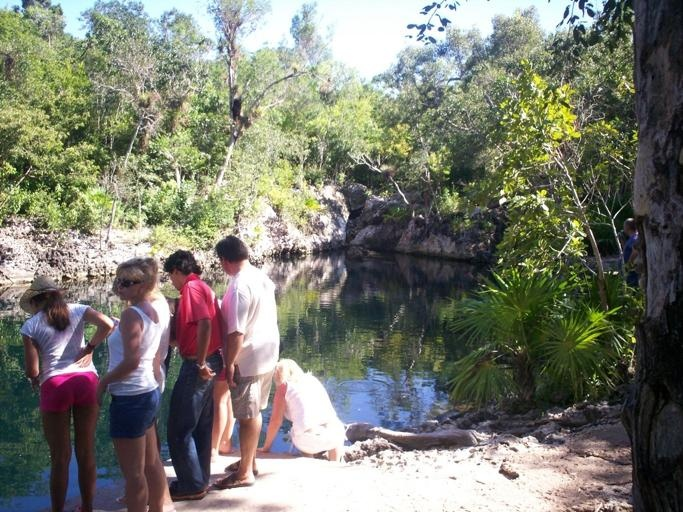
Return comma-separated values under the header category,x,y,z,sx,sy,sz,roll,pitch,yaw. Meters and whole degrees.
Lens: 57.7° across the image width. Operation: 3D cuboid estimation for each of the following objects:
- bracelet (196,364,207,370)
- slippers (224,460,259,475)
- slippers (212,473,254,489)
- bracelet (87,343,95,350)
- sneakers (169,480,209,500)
category,x,y,z,sx,sy,sz,roll,pitch,yaw
bracelet,-1.424,1.114,6.309,0.060,0.060,0.026,1,9,7
slippers,-1.123,2.356,6.941,0.365,0.186,0.198,10,-9,-12
slippers,-1.159,2.386,6.575,0.318,0.126,0.180,4,-11,-5
bracelet,-2.452,0.872,6.059,0.061,0.072,0.016,-10,-11,-21
sneakers,-1.591,2.439,6.446,0.362,0.196,0.162,-4,5,-5
